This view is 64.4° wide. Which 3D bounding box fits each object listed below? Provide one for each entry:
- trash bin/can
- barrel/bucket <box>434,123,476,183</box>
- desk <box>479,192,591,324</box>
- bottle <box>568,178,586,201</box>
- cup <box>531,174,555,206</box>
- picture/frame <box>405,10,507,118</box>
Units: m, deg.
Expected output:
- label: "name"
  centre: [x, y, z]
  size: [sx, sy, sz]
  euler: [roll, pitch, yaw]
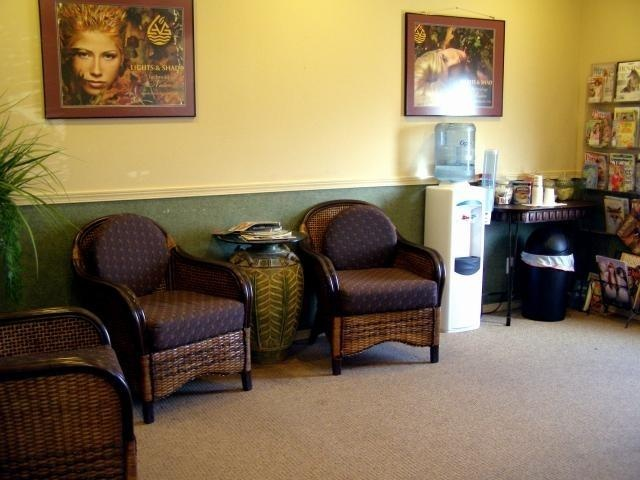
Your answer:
- label: "trash bin/can"
  centre: [1.948, 0.290, 4.401]
  size: [0.415, 0.808, 0.261]
  euler: [5, 15, 21]
- label: "barrel/bucket"
  centre: [1.119, -0.739, 4.277]
  size: [0.336, 0.492, 0.216]
  euler: [2, 14, 12]
- label: "desk"
  centre: [2.001, 0.044, 4.433]
  size: [0.751, 0.669, 0.535]
  euler: [-4, 6, 4]
- label: "bottle"
  centre: [2.367, -0.466, 4.696]
  size: [0.197, 0.192, 0.191]
  euler: [0, -4, -4]
- label: "cup"
  centre: [1.895, -0.427, 4.329]
  size: [0.197, 0.239, 0.233]
  euler: [5, 15, 21]
- label: "picture/frame"
  centre: [1.103, -1.509, 4.270]
  size: [1.008, 0.820, 0.034]
  euler: [1, 2, -23]
